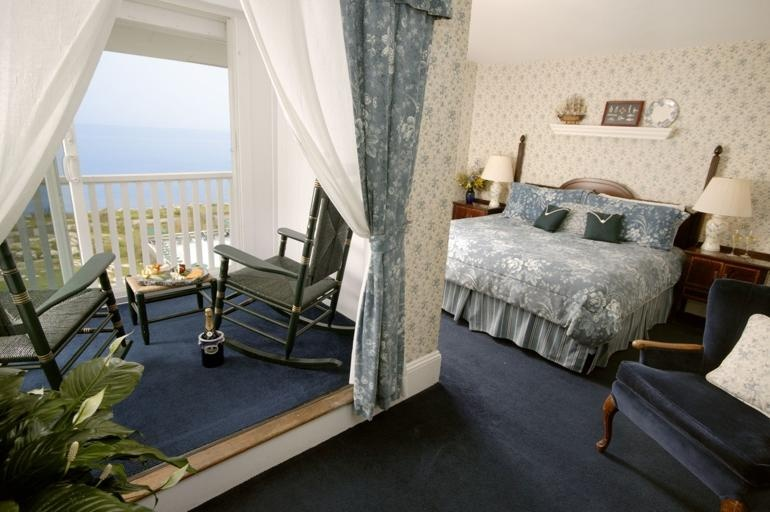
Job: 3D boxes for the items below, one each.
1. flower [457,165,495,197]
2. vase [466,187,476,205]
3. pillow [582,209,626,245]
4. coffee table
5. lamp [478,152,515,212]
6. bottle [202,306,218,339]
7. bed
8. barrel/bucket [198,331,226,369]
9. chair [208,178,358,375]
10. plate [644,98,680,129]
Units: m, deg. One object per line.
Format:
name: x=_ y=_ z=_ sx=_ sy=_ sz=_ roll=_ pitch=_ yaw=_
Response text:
flower: x=1.214 y=-1.021 z=6.222 sx=0.396 sy=0.405 sz=0.380 roll=1 pitch=14 yaw=4
vase: x=1.134 y=-0.791 z=6.186 sx=0.166 sy=0.283 sz=0.175 roll=-1 pitch=17 yaw=3
pillow: x=2.178 y=-0.272 z=4.525 sx=0.315 sy=0.307 sz=0.115 roll=8 pitch=-20 yaw=28
coffee table: x=-1.745 y=0.272 z=3.700 sx=0.675 sy=0.550 sz=0.648 roll=-14 pitch=27 yaw=-32
lamp: x=1.432 y=-0.939 z=5.882 sx=0.620 sy=0.644 sz=0.627 roll=7 pitch=11 yaw=12
bottle: x=-1.251 y=0.446 z=3.264 sx=0.076 sy=0.254 sz=0.360 roll=-3 pitch=15 yaw=-21
bed: x=1.822 y=-0.117 z=4.533 sx=2.655 sy=1.265 sz=2.619 roll=-8 pitch=16 yaw=-1
barrel/bucket: x=-1.219 y=0.674 z=3.217 sx=0.145 sy=0.348 sz=0.145 roll=4 pitch=20 yaw=-1
chair: x=-0.737 y=0.028 z=3.433 sx=1.237 sy=1.476 sz=0.854 roll=17 pitch=21 yaw=30
plate: x=2.840 y=-1.460 z=4.671 sx=0.064 sy=0.276 sz=0.282 roll=-9 pitch=18 yaw=-38
